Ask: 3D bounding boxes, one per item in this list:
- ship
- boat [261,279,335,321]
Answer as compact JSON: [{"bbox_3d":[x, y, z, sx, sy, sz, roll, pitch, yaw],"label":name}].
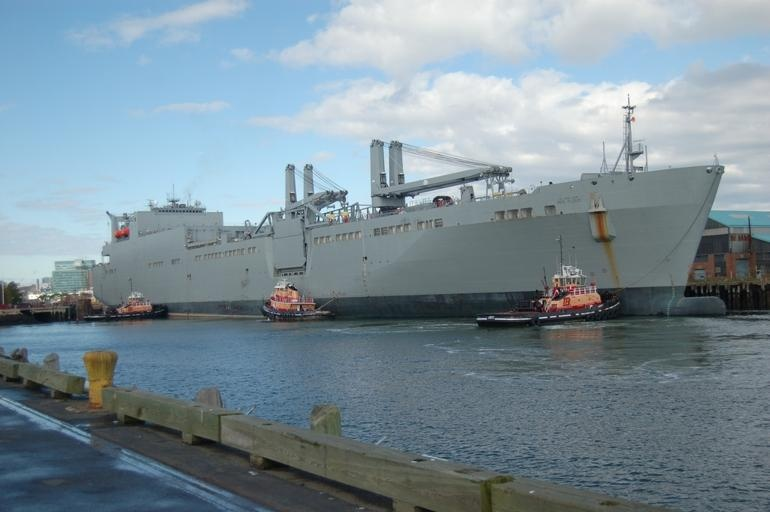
[{"bbox_3d":[-2.780,-0.584,51.144,47.992,9.153,7.306,-4,-9,41],"label":"ship"},{"bbox_3d":[-5.669,3.090,50.966,1.971,2.107,5.869,-1,3,-32],"label":"boat"}]
